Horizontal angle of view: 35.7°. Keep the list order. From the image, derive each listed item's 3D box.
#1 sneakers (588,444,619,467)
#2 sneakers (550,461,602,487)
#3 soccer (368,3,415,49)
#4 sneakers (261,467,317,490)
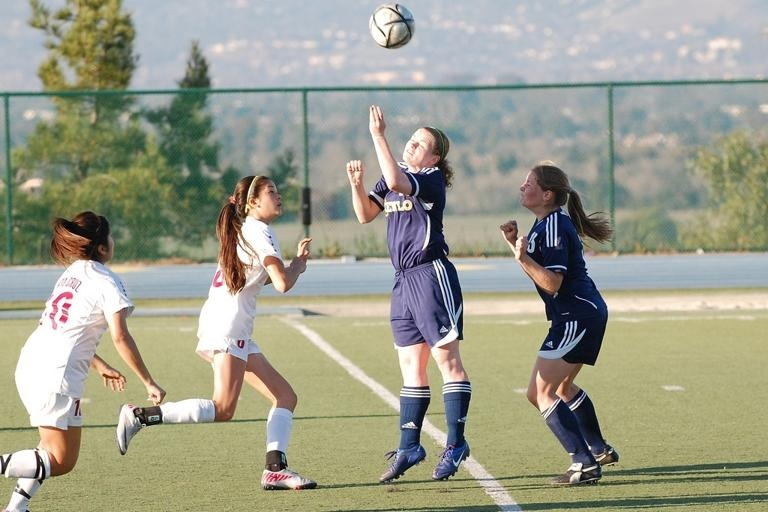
[{"bbox_3d":[2.666,2.404,14.424,0.154,0.240,0.434,-31,8,-1],"label":"sneakers"},{"bbox_3d":[2.292,2.604,14.207,0.585,0.253,0.249,0,-2,-2],"label":"sneakers"},{"bbox_3d":[0.128,-3.242,16.847,0.596,0.608,0.342,-1,14,1],"label":"soccer"},{"bbox_3d":[-1.111,2.636,14.139,0.654,0.269,0.247,0,-1,-2],"label":"sneakers"}]
